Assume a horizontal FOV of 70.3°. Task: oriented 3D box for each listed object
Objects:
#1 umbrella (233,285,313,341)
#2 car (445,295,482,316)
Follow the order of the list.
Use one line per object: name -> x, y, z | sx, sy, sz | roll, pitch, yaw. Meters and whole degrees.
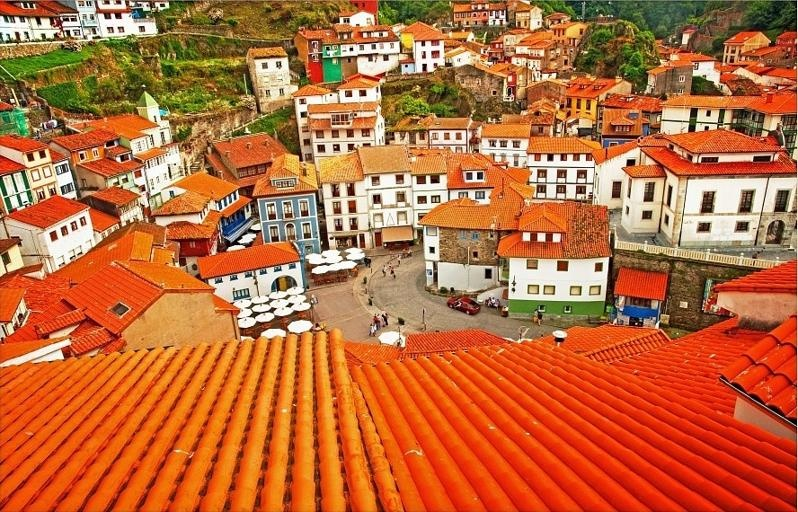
umbrella -> -9.188, 4.041, 41.106 | 4.057, 1.224, 3.619 | -6, 33, -10
car -> 4.853, 3.661, 42.622 | 2.137, 0.719, 1.228 | 24, 38, 27
